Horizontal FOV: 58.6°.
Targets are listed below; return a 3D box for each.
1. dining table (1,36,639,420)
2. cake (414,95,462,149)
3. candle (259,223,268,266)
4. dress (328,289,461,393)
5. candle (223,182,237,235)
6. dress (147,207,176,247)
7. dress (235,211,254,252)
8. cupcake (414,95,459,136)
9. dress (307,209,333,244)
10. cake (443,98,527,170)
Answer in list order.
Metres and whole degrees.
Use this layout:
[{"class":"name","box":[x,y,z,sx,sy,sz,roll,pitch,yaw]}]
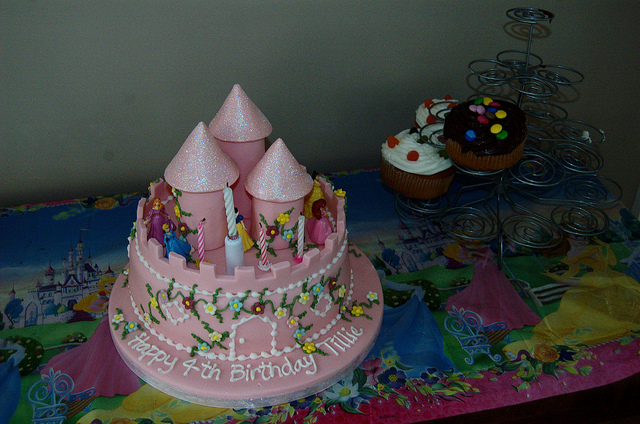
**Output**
[{"class":"dining table","box":[0.253,0.413,3.783,4.329,1.507,2.415,-2,61,-9]},{"class":"cake","box":[0.901,-0.719,4.368,0.392,0.250,0.411,-13,42,-6]},{"class":"candle","box":[-0.328,0.190,3.303,0.042,0.205,0.124,-9,15,-5]},{"class":"dress","box":[0.594,0.788,3.508,0.453,0.184,0.597,3,52,6]},{"class":"candle","box":[-0.507,-0.011,3.203,0.056,0.290,0.124,-10,15,-9]},{"class":"dress","box":[-0.942,0.039,3.323,0.205,0.241,0.146,-13,37,-24]},{"class":"dress","box":[-0.453,0.117,3.441,0.085,0.214,0.181,-9,15,-8]},{"class":"cupcake","box":[0.890,-0.689,4.478,0.318,0.322,0.334,-4,32,-1]},{"class":"dress","box":[-0.003,0.112,3.463,0.151,0.232,0.248,-1,-22,-2]},{"class":"cake","box":[1.113,-0.526,3.816,0.475,0.313,0.502,-10,37,-5]}]
